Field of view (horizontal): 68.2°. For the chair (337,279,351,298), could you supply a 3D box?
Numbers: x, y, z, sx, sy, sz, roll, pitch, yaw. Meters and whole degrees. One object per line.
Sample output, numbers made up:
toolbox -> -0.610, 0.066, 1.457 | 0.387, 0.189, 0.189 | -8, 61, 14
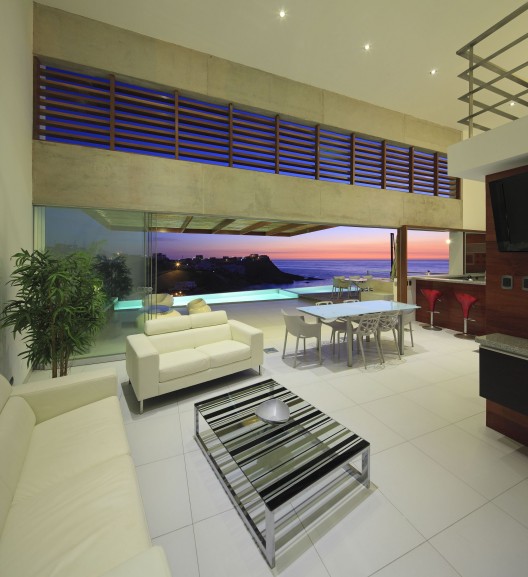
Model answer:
chair -> 2.465, -0.007, 12.193 | 0.397, 0.609, 0.482 | -1, 6, -12

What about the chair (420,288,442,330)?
chair -> 3.054, 0.367, 7.165 | 0.324, 0.743, 0.693 | 2, 13, 13

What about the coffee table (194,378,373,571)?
coffee table -> 0.155, 1.114, 2.638 | 0.713, 0.412, 1.097 | -11, 17, -31

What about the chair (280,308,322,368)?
chair -> 0.495, 0.651, 5.411 | 0.612, 0.900, 0.609 | -2, 4, -23

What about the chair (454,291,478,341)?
chair -> 3.311, 0.428, 6.443 | 0.313, 0.739, 0.634 | 6, 15, 26

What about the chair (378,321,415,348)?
chair -> 1.919, 0.681, 5.721 | 0.407, 0.519, 0.368 | -2, 4, -33
